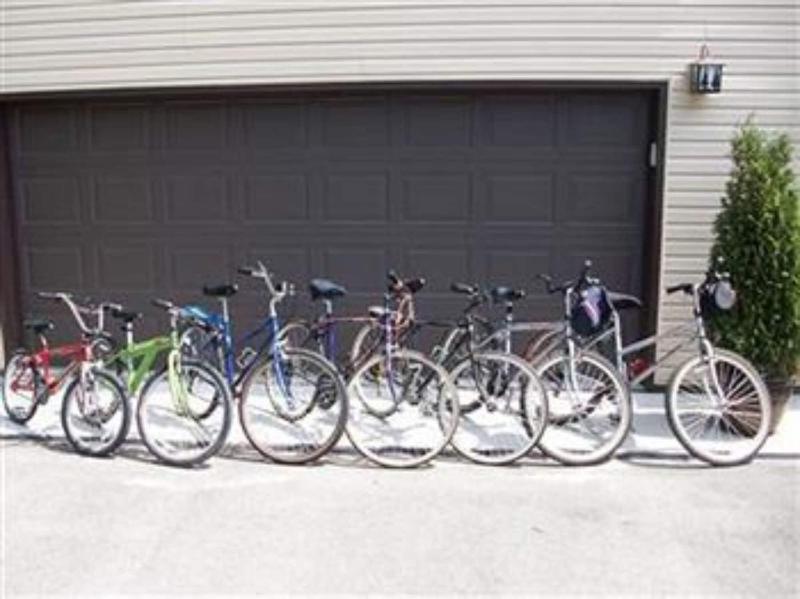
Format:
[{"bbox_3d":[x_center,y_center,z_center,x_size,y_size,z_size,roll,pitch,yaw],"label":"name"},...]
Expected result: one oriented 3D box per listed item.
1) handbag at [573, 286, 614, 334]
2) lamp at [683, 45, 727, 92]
[{"bbox_3d":[1.594,0.136,6.905,0.250,0.408,0.426,19,-11,25],"label":"handbag"},{"bbox_3d":[2.959,-2.216,7.980,0.386,0.488,0.373,0,0,-27],"label":"lamp"}]
